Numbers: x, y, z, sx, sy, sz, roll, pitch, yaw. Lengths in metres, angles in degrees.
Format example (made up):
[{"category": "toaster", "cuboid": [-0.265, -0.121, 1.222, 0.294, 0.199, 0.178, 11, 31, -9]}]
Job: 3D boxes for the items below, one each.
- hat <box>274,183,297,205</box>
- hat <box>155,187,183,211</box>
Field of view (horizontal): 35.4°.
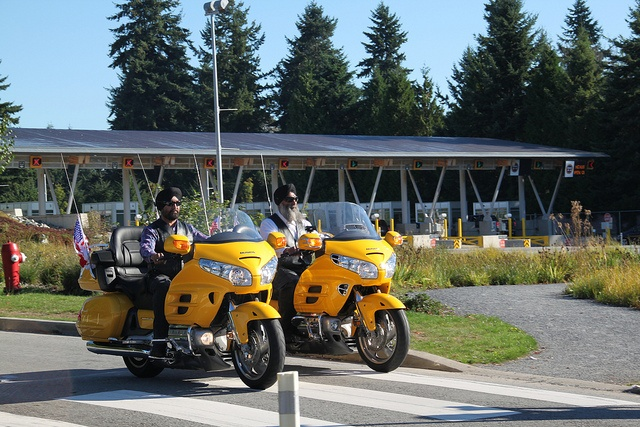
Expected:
[{"category": "hat", "cuboid": [-0.864, -0.481, 23.737, 0.482, 0.309, 0.466, -20, -9, 25]}, {"category": "hat", "cuboid": [-3.497, -0.379, 22.906, 0.448, 0.574, 0.299, 17, 8, -38]}]
